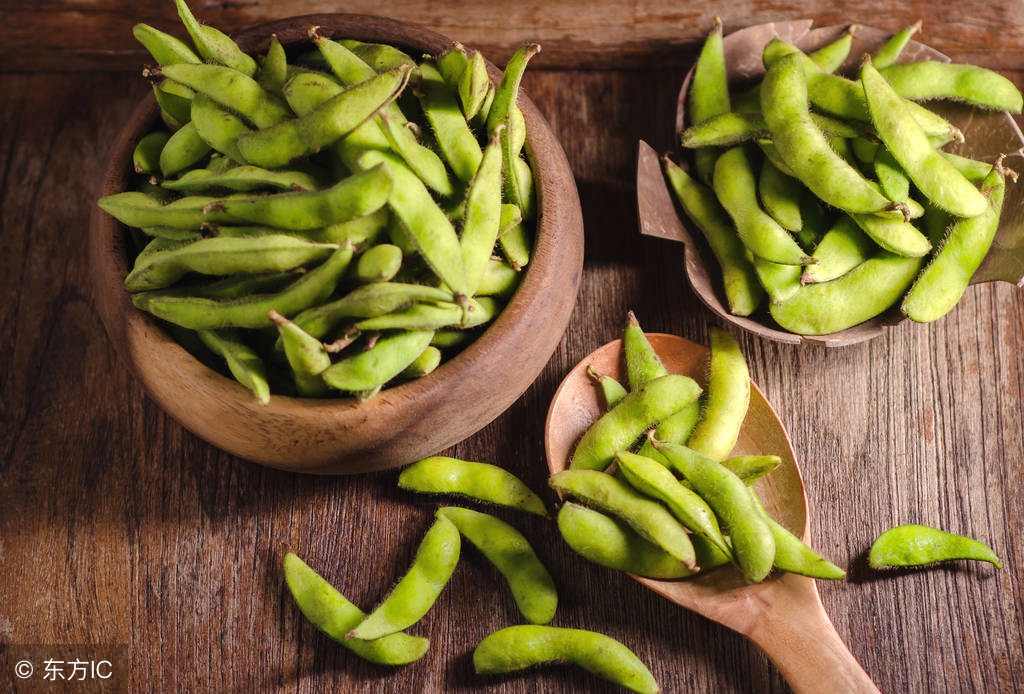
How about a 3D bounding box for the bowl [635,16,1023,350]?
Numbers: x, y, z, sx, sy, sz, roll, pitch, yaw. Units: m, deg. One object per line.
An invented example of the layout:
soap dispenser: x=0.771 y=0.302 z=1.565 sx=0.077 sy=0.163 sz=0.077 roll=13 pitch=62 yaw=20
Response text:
bowl: x=0.420 y=-0.249 z=1.689 sx=0.393 sy=0.168 sz=0.534 roll=9 pitch=85 yaw=4
